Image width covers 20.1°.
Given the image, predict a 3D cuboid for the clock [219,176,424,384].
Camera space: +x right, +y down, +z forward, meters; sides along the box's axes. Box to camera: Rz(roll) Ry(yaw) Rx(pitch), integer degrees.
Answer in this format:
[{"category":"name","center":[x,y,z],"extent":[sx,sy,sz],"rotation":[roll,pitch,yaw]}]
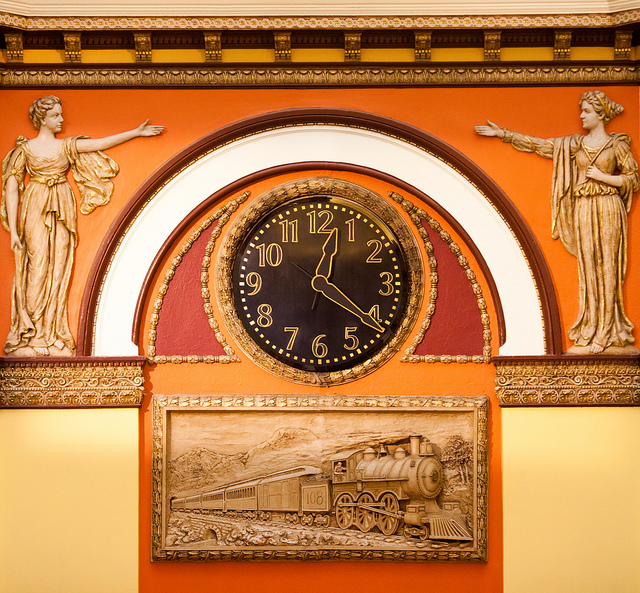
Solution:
[{"category":"clock","center":[0.005,-0.062,12.665],"extent":[1.365,1.443,0.147],"rotation":[-4,-6,0]}]
